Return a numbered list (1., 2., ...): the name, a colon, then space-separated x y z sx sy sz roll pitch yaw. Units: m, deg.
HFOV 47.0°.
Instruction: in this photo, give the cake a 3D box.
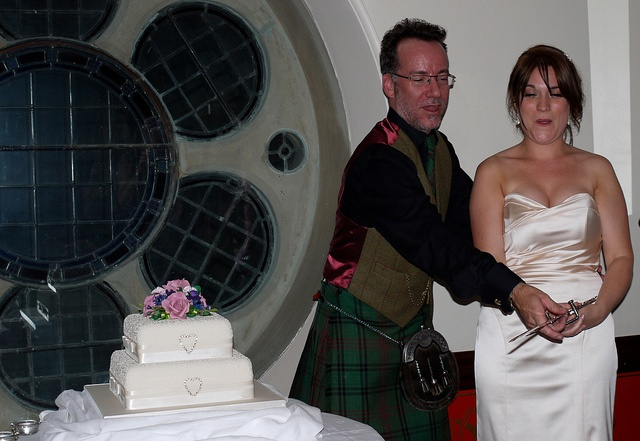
1. cake: -0.493 0.391 2.574 0.417 0.382 0.418 0 0 -20
